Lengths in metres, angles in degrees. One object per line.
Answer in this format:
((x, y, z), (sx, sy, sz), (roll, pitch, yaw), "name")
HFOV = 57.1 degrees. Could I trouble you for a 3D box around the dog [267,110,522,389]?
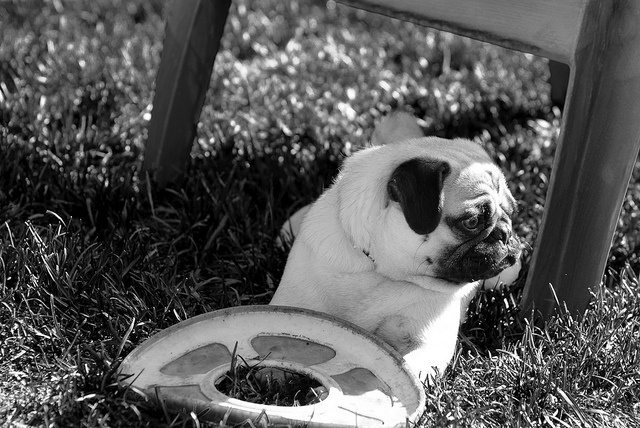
((0.313, 0.079, 3.000), (1.004, 0.955, 1.567), (8, 14, 1), "dog")
